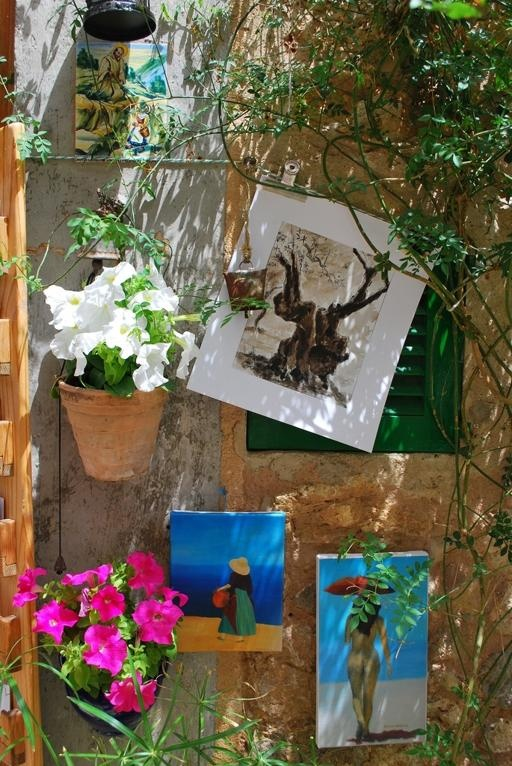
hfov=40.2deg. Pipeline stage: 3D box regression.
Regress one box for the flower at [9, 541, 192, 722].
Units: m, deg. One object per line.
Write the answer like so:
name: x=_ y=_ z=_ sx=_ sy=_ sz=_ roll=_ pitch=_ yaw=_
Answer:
flower: x=-0.218 y=0.455 z=1.199 sx=0.256 sy=0.249 sz=0.223 roll=-4 pitch=2 yaw=39

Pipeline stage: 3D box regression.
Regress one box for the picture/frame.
picture/frame: x=0.084 y=-0.144 z=1.313 sx=0.416 sy=0.444 sz=0.020 roll=28 pitch=-3 yaw=-17

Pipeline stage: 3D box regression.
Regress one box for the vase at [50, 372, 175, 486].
vase: x=-0.231 y=0.079 z=1.213 sx=0.199 sy=0.156 sz=0.194 roll=-6 pitch=12 yaw=-29

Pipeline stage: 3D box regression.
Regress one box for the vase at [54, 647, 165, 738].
vase: x=-0.246 y=0.560 z=1.271 sx=0.169 sy=0.166 sz=0.180 roll=2 pitch=0 yaw=1

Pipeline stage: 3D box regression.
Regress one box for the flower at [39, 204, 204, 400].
flower: x=-0.212 y=-0.128 z=1.190 sx=0.272 sy=0.314 sz=0.372 roll=-3 pitch=24 yaw=-14
